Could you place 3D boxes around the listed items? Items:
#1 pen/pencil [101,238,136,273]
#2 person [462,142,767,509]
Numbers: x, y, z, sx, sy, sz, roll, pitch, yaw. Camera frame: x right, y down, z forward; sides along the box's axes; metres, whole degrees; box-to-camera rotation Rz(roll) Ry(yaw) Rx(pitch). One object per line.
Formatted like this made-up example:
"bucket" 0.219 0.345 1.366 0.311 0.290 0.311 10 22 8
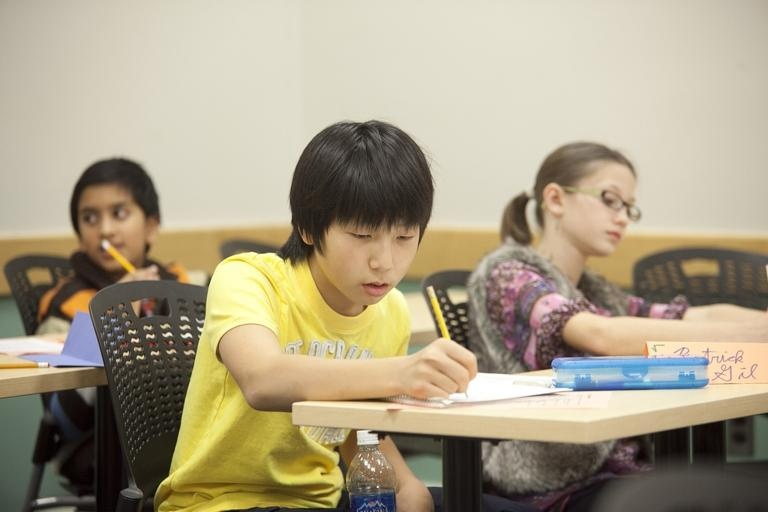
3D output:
"pen/pencil" -0.932 -0.006 2.331 0.023 0.144 0.025 -51 10 -22
"person" 0.591 0.174 2.044 0.984 1.072 0.801 -1 -4 28
